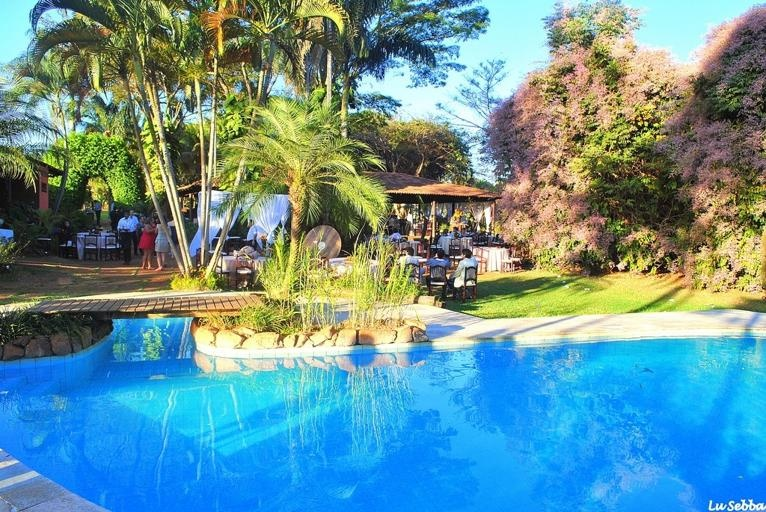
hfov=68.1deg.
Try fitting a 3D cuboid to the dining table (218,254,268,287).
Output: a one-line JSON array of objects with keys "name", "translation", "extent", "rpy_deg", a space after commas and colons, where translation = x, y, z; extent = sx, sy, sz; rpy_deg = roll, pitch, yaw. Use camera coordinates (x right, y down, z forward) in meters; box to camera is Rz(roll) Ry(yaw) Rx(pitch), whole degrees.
[{"name": "dining table", "translation": [-4.205, 0.456, 16.641], "extent": [1.640, 0.966, 0.777], "rpy_deg": [9, 7, 35]}]

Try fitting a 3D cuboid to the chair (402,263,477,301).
[{"name": "chair", "translation": [1.864, 0.612, 15.963], "extent": [1.409, 1.173, 0.673], "rpy_deg": [9, 7, 33]}]
